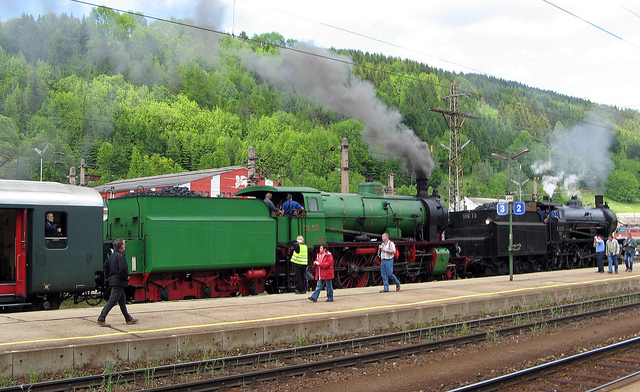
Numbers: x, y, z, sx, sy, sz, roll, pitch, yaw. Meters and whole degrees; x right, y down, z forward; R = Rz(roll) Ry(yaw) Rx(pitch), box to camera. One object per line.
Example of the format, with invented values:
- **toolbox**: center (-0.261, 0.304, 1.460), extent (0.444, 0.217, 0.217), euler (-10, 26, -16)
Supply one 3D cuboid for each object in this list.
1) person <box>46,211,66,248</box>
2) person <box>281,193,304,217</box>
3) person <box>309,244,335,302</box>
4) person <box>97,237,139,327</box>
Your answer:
- **person**: center (-10.211, 1.412, 21.569), extent (0.661, 1.499, 0.653), euler (0, 19, -23)
- **person**: center (-1.250, 0.430, 26.157), extent (0.939, 1.338, 0.444), euler (-4, 12, -8)
- **person**: center (0.095, 3.165, 23.275), extent (0.943, 1.871, 1.417), euler (-1, -1, -1)
- **person**: center (-6.688, 2.878, 18.761), extent (1.121, 2.887, 0.666), euler (-1, 0, -16)
